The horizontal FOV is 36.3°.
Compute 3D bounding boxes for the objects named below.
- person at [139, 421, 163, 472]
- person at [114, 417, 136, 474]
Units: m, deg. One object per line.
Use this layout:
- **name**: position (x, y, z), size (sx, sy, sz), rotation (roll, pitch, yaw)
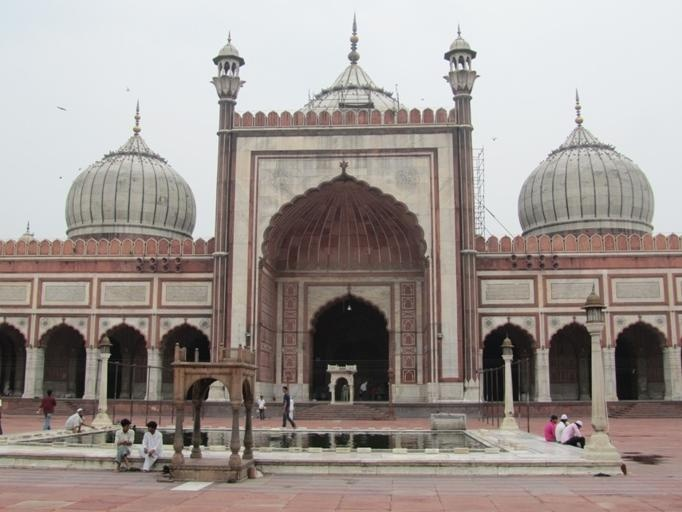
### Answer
- **person**: position (-3.627, 3.637, 19.891), size (0.371, 0.931, 0.358), rotation (2, -12, -11)
- **person**: position (-4.245, 3.683, 20.316), size (0.336, 1.009, 1.075), rotation (2, -12, -12)
